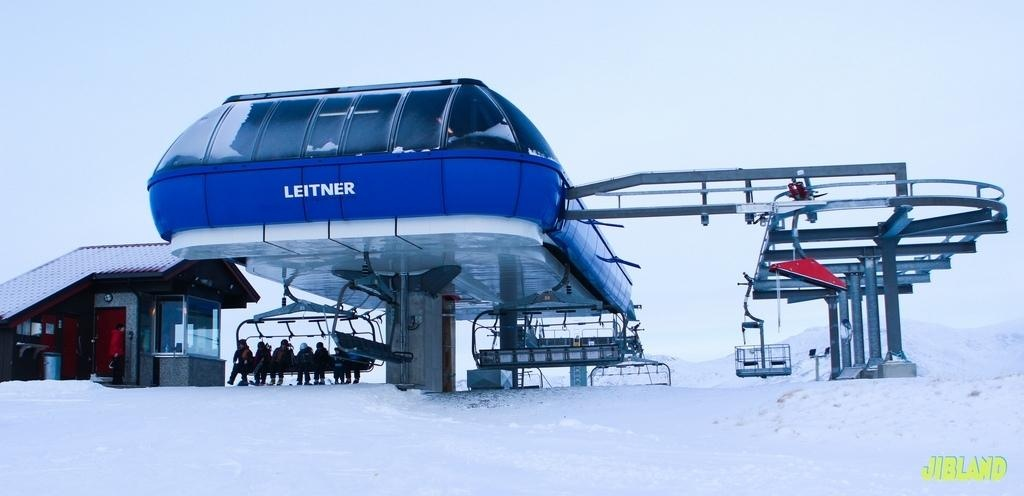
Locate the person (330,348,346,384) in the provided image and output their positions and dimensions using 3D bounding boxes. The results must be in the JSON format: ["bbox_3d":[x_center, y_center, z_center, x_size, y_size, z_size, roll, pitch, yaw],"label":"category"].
[{"bbox_3d":[-7.093,4.918,59.211,0.453,1.415,1.554,-1,-11,-7],"label":"person"}]

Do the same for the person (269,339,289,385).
[{"bbox_3d":[-9.595,4.763,59.934,0.814,1.826,0.954,-1,-12,-10],"label":"person"}]

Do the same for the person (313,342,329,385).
[{"bbox_3d":[-7.885,4.737,59.448,0.532,1.744,0.626,-8,-14,23],"label":"person"}]

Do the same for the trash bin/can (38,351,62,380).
[{"bbox_3d":[-19.009,4.893,59.925,0.689,1.265,1.386,1,-12,-17],"label":"trash bin/can"}]

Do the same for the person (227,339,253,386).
[{"bbox_3d":[-11.146,4.704,59.474,0.631,1.920,1.154,-10,-14,29],"label":"person"}]

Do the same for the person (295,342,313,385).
[{"bbox_3d":[-8.512,4.783,59.355,0.651,1.781,1.300,-1,-12,-9],"label":"person"}]
